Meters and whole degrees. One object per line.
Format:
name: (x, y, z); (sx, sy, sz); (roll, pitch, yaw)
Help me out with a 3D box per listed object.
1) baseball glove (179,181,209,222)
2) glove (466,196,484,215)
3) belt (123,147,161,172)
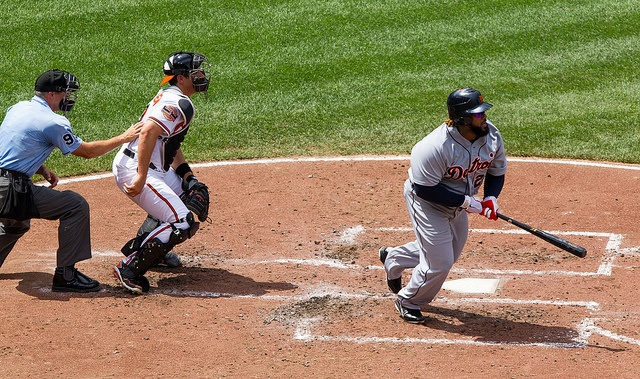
baseball glove: (-1.768, 0.168, 12.616); (0.462, 0.524, 0.444); (1, 2, -23)
glove: (2.082, 0.203, 11.766); (0.218, 0.284, 0.262); (-1, 19, 7)
belt: (-2.516, -0.421, 12.340); (0.416, 0.093, 0.287); (31, -2, 0)
